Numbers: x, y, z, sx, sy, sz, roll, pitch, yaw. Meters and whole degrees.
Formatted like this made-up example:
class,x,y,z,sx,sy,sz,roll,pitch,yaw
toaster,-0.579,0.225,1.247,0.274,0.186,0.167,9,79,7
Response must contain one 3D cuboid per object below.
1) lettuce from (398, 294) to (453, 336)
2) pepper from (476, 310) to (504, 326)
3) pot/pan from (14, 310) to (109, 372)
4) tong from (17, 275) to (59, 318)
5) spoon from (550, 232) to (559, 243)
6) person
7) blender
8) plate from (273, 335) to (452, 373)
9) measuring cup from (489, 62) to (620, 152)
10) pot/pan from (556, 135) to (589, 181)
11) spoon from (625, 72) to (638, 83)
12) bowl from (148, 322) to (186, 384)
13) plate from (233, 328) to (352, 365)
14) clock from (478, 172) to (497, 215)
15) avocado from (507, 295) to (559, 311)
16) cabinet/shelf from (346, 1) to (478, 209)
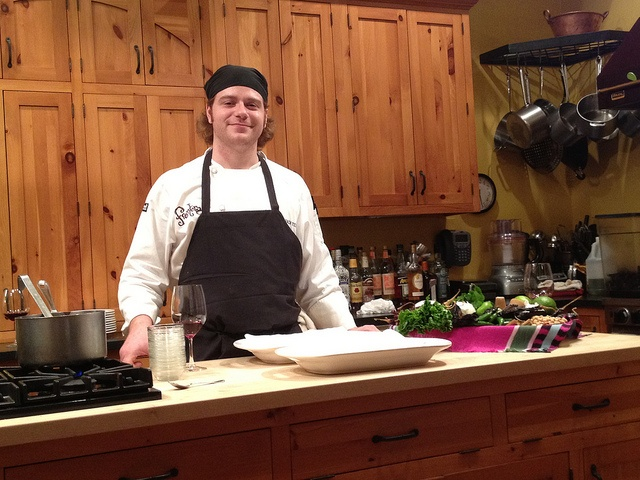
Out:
class,x,y,z,sx,sy,sz,roll,pitch,yaw
lettuce,0.304,0.225,1.612,0.160,0.093,0.059,-3,-1,5
pepper,0.510,0.237,1.671,0.050,0.020,0.048,-12,-3,7
pot/pan,-0.642,0.234,1.393,0.188,0.144,0.170,-2,-4,-6
tong,-1.045,0.206,2.020,0.041,0.286,0.110,-25,-9,-33
spoon,1.683,-0.017,3.972,0.049,0.049,0.051,1,2,30
person,-0.321,-0.023,1.968,0.744,1.250,0.617,0,7,-33
blender,1.296,0.113,3.821,0.245,0.521,0.413,-3,-1,18
plate,0.104,0.300,1.472,0.438,0.085,0.218,-3,0,-10
measuring cup,1.593,-0.968,3.807,0.795,0.643,0.330,-3,-1,29
pot/pan,1.853,-0.588,4.095,0.191,0.359,0.339,-5,-16,38
spoon,1.605,-0.844,2.854,0.013,0.049,0.049,-6,28,-19
bowl,-0.393,0.278,1.413,0.129,0.205,0.125,-1,-6,0
plate,-0.104,0.271,1.718,0.346,0.098,0.302,0,4,-40
clock,1.229,-0.355,4.069,0.193,0.280,0.072,-2,-1,-29
avocado,0.680,0.190,1.755,0.107,0.053,0.067,0,5,1
cabinet/shelf,0.512,-0.815,3.439,0.768,1.269,0.320,-3,9,-28
